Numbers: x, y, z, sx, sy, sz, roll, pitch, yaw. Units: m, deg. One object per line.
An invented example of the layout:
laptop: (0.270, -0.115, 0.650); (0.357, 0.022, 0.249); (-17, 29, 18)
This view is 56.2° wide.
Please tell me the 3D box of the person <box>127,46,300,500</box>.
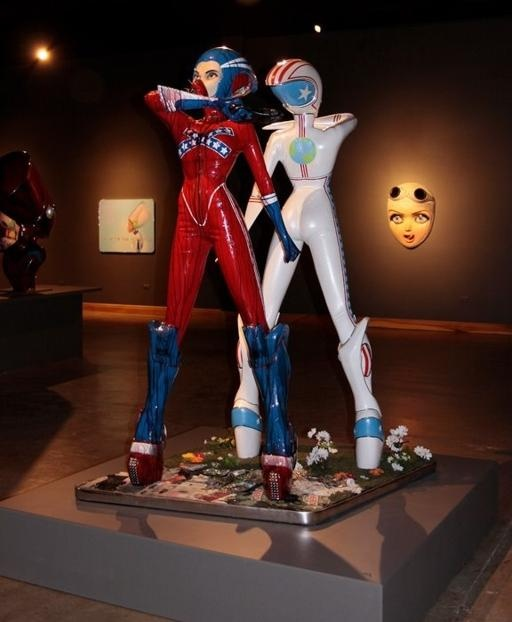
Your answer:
person: (-0.166, -0.072, 1.659); (0.584, 1.350, 0.243); (-1, -2, 5)
